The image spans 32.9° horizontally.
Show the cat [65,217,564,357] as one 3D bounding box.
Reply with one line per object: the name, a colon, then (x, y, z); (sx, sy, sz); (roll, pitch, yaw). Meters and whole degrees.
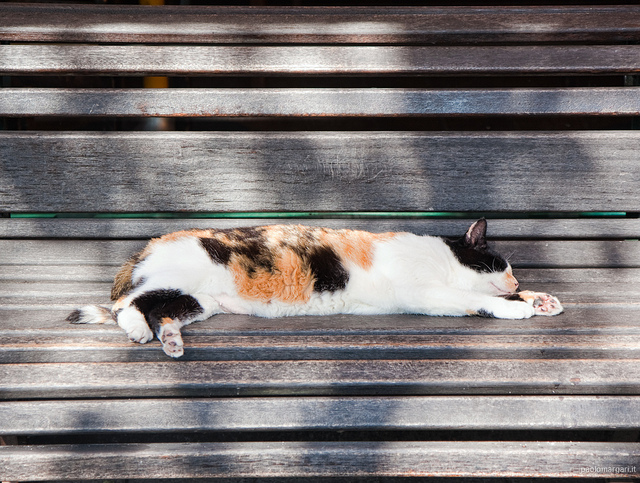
cat: (0.024, 0.216, 5.526); (2.283, 0.871, 0.313); (-2, 90, 1)
